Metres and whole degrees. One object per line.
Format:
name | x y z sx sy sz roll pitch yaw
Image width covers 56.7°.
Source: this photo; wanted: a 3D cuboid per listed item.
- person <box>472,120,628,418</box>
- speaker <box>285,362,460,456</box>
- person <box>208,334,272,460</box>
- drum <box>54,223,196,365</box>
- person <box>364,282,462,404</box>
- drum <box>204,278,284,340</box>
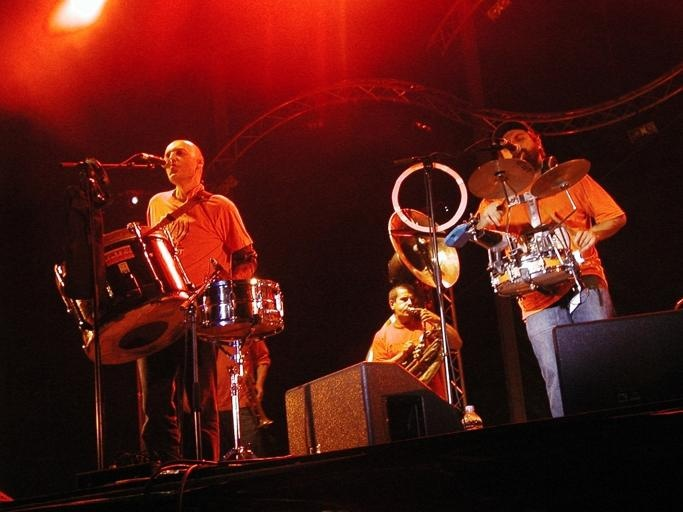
person | 1.705 0.083 5.080 1.084 2.514 0.934 0 1 27
speaker | 0.068 0.851 3.476 0.971 0.436 0.562 -22 -30 33
person | -1.139 1.263 5.598 0.598 1.031 0.991 0 -1 -6
drum | -1.471 0.209 4.769 0.660 0.825 0.902 6 -27 -19
person | 0.823 1.010 7.069 0.882 1.375 0.804 3 2 44
drum | -0.769 0.430 4.862 0.642 0.397 0.497 1 -26 -11
